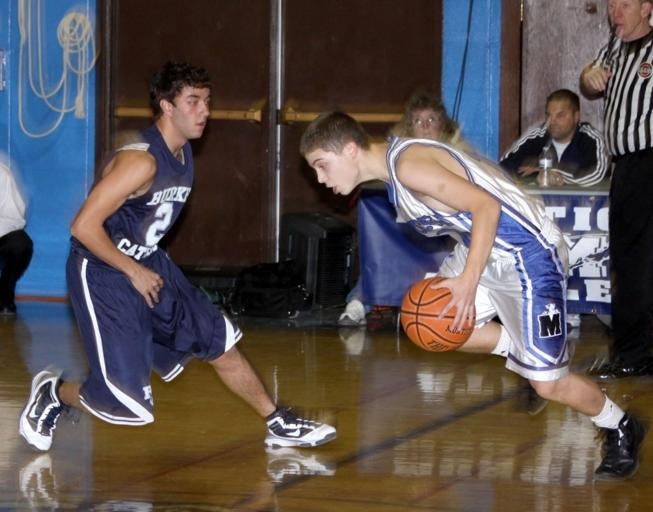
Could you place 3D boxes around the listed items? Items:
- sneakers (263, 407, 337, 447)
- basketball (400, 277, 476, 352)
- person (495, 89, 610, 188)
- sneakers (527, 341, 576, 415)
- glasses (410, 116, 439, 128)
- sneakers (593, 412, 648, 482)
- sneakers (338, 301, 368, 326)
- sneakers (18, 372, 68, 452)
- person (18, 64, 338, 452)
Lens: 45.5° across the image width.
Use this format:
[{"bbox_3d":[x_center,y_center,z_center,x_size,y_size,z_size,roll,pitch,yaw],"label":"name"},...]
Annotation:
[{"bbox_3d":[-0.127,0.708,3.290,0.336,0.174,0.132,-1,7,6],"label":"sneakers"},{"bbox_3d":[0.427,0.226,2.984,0.280,0.294,0.284,3,-1,4],"label":"basketball"},{"bbox_3d":[1.523,-0.735,5.134,0.704,0.593,0.660,10,19,39],"label":"person"},{"bbox_3d":[0.868,0.482,3.041,0.115,0.385,0.151,2,13,0],"label":"sneakers"},{"bbox_3d":[0.636,-0.877,5.090,0.096,0.079,0.115,0,-2,26],"label":"glasses"},{"bbox_3d":[1.132,0.736,3.061,0.112,0.146,0.344,-14,36,49],"label":"sneakers"},{"bbox_3d":[0.178,0.408,5.483,0.105,0.113,0.253,2,4,10],"label":"sneakers"},{"bbox_3d":[-1.142,0.639,3.212,0.159,0.361,0.132,-11,-24,21],"label":"sneakers"},{"bbox_3d":[-0.685,0.012,3.137,1.134,1.568,0.399,-3,8,-15],"label":"person"}]
